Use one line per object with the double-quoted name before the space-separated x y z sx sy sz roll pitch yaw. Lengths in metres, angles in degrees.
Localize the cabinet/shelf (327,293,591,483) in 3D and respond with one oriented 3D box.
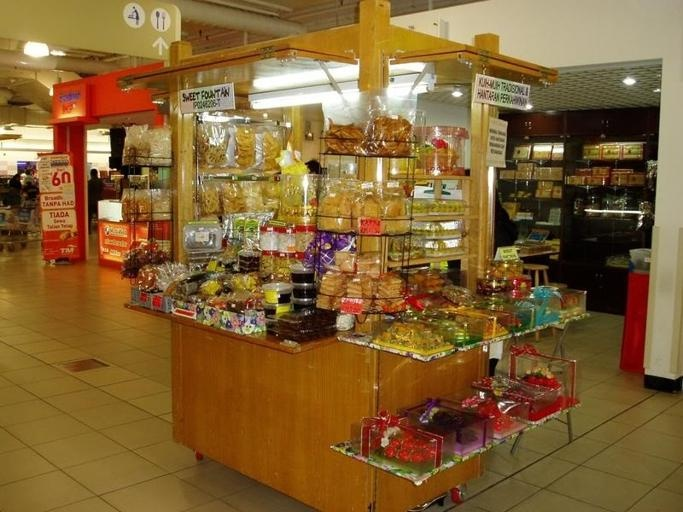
"cabinet/shelf" 0.721 0.852 3.504 1.834 0.689 0.502 -4 7 -38
